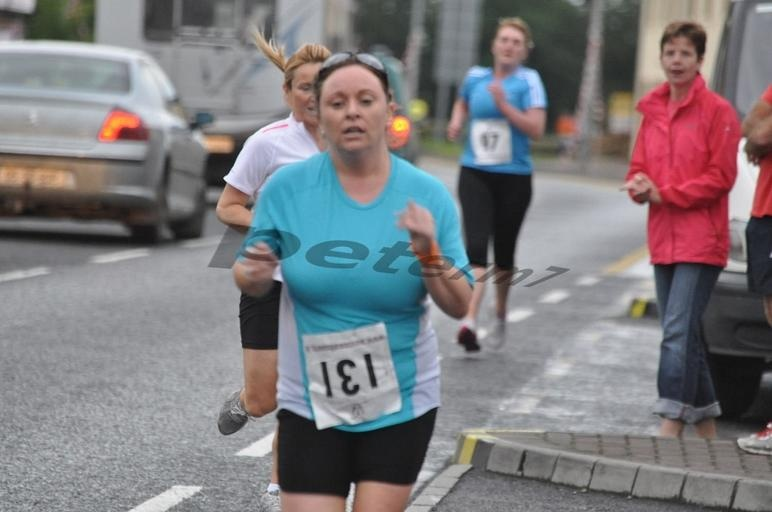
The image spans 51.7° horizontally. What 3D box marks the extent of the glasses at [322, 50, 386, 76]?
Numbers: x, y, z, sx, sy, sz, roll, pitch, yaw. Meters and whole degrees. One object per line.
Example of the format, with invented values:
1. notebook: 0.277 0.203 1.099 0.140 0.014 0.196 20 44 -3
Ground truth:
1. glasses: -0.093 -0.563 2.326 0.189 0.059 0.059 3 11 -4

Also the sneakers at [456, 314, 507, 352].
1. sneakers: 0.796 0.649 6.454 0.192 0.213 0.541 -1 4 18

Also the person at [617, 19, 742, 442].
1. person: 1.590 -0.086 4.312 0.744 2.237 0.408 5 12 0
